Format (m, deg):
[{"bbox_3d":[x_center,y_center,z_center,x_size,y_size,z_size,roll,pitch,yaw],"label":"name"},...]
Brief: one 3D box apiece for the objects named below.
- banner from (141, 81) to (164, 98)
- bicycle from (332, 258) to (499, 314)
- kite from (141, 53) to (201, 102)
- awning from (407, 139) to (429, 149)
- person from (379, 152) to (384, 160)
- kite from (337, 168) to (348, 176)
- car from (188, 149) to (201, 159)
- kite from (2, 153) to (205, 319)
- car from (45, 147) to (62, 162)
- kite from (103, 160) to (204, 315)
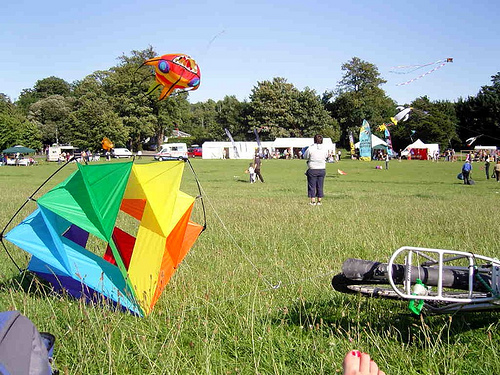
[{"bbox_3d":[-4.847,-4.908,22.065,0.639,0.220,1.014,43,-29,-13],"label":"banner"},{"bbox_3d":[1.412,0.873,3.834,0.862,0.300,0.755,4,5,14],"label":"bicycle"},{"bbox_3d":[-3.845,-5.527,21.915,2.593,1.897,2.905,5,-24,-12],"label":"kite"},{"bbox_3d":[28.933,-7.618,76.542,3.096,1.792,3.339,0,1,24],"label":"awning"},{"bbox_3d":[18.944,-4.634,64.448,0.574,1.050,1.697,1,6,13],"label":"person"},{"bbox_3d":[7.285,-1.267,35.277,0.824,0.384,0.427,18,3,-42],"label":"kite"},{"bbox_3d":[-10.285,-6.443,82.494,2.153,1.339,1.328,-2,2,33],"label":"car"},{"bbox_3d":[-2.058,0.704,6.253,1.578,1.578,1.597,-43,-3,39],"label":"kite"},{"bbox_3d":[-30.504,-5.133,69.728,2.069,2.149,3.023,1,7,-2],"label":"car"},{"bbox_3d":[-1.108,0.483,5.895,1.391,0.891,1.788,10,49,37],"label":"kite"}]
